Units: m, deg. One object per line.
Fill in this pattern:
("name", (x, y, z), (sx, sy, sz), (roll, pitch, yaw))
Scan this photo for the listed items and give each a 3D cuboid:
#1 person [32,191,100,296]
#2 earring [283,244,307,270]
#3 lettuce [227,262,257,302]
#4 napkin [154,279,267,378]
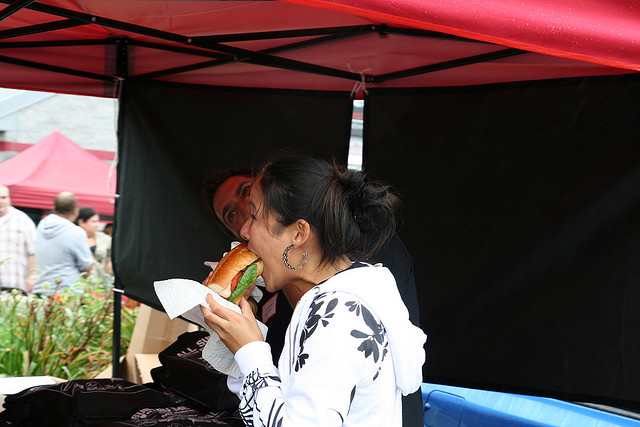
("person", (-3.424, 0.396, 7.029), (0.856, 1.504, 1.035), (11, -3, -24))
("earring", (-0.116, 0.194, 2.313), (0.107, 0.109, 0.024), (10, -2, -6))
("lettuce", (-0.389, 0.351, 2.647), (0.078, 0.253, 0.069), (38, -25, -4))
("napkin", (-0.620, 0.566, 2.625), (0.492, 0.525, 0.633), (5, -4, -31))
